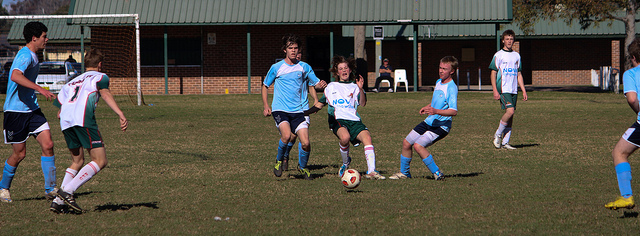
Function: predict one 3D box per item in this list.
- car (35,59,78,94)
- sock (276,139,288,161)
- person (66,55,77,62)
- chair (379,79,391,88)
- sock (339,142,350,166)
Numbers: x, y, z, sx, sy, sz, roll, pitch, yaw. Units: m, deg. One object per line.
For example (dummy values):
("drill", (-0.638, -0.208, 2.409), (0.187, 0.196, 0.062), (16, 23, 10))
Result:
("car", (-22.094, -3.712, 48.643), (3.326, 2.069, 4.723), (3, 20, -12))
("sock", (-1.835, 1.590, 29.093), (0.475, 1.070, 0.335), (-1, 8, -4))
("person", (-23.343, -5.565, 54.990), (0.931, 0.397, 0.779), (0, 1, 2))
("chair", (5.516, -2.832, 48.522), (0.730, 0.386, 0.608), (0, -10, 4))
("sock", (1.292, 1.838, 28.960), (0.435, 1.062, 0.334), (0, 8, 3))
